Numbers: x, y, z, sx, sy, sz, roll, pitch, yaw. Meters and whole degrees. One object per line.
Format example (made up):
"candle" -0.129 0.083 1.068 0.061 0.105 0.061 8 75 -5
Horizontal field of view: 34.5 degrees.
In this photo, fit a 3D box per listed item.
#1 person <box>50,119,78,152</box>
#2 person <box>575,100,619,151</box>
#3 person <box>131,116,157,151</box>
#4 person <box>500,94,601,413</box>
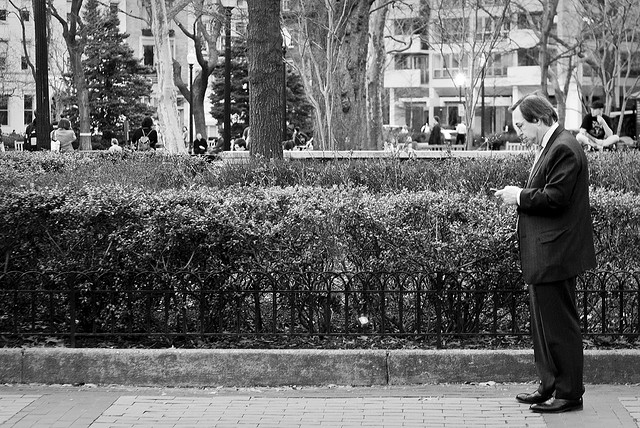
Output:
"person" -6.484 -2.035 26.267 0.525 0.855 2.273 0 8 -12
"person" 6.525 -2.069 24.308 0.900 1.276 0.892 1 4 -1
"person" -4.650 -2.186 27.620 0.629 0.865 2.061 0 7 -11
"person" 2.631 0.446 11.632 0.969 3.563 0.453 3 6 15
